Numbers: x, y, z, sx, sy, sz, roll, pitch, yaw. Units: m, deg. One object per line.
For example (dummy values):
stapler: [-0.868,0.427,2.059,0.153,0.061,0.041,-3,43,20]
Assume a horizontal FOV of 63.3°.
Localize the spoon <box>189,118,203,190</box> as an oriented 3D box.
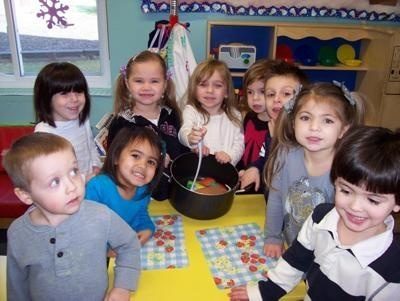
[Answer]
spoon: [-0.011,0.039,1.571,0.039,0.303,0.061,12,-17,-8]
